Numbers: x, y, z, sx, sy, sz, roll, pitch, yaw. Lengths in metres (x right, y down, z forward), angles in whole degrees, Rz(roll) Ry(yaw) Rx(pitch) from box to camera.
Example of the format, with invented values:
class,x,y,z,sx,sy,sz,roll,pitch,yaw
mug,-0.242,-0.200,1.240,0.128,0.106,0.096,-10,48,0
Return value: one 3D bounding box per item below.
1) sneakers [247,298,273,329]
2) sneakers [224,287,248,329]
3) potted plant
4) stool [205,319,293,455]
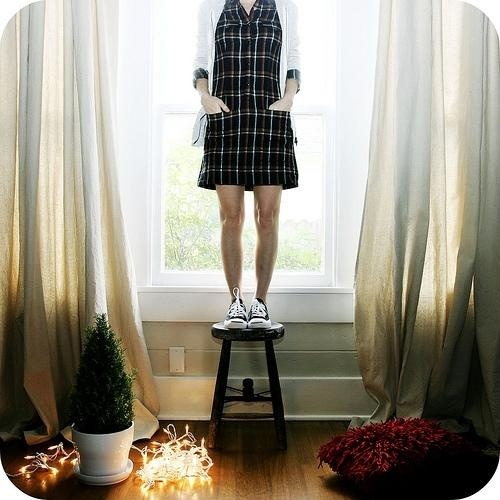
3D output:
class,x,y,z,sx,sy,sz,roll,pitch,yaw
sneakers,0.029,0.231,1.919,0.063,0.099,0.217,0,-6,0
sneakers,-0.053,0.211,1.916,0.068,0.159,0.226,5,-1,-1
potted plant,-0.464,0.465,1.623,0.193,0.511,0.135,-2,4,-24
stool,-0.008,0.478,1.964,0.292,0.456,0.418,0,5,3
